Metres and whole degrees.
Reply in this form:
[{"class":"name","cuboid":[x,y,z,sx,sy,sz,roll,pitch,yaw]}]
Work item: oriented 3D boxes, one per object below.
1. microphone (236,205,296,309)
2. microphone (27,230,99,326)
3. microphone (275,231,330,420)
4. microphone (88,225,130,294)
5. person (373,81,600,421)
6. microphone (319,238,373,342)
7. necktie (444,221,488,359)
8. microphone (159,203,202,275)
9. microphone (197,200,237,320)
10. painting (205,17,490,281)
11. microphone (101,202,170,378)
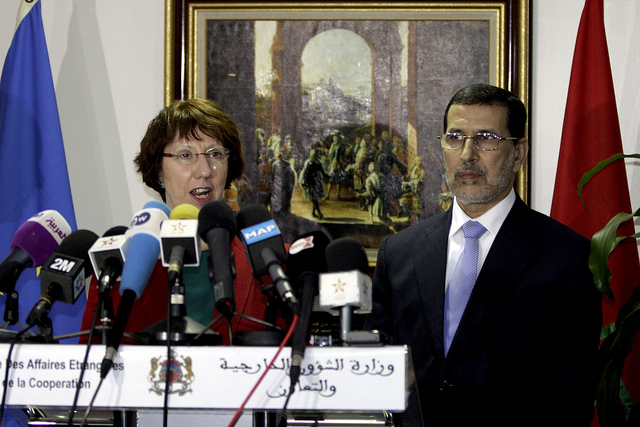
[{"class":"microphone","cuboid":[-0.184,0.139,2.307,0.132,0.144,0.479,-19,46,-13]},{"class":"microphone","cuboid":[-0.907,0.223,2.322,0.227,0.326,0.169,1,2,-21]},{"class":"microphone","cuboid":[-0.063,0.338,2.265,0.146,0.595,0.131,12,-37,-1]},{"class":"microphone","cuboid":[-0.741,0.166,2.306,0.128,0.141,0.249,-6,26,8]},{"class":"person","cuboid":[0.787,0.125,3.076,0.998,1.509,0.674,2,2,-1]},{"class":"microphone","cuboid":[0.090,0.257,2.265,0.180,0.326,0.275,2,2,1]},{"class":"necktie","cuboid":[0.704,0.361,3.147,0.170,0.622,0.027,9,-19,38]},{"class":"microphone","cuboid":[-0.489,0.086,2.293,0.096,0.104,0.257,-1,24,-3]},{"class":"microphone","cuboid":[-0.360,0.159,2.284,0.140,0.400,0.246,1,2,-10]},{"class":"painting","cuboid":[0.241,-0.378,3.854,1.600,1.763,0.069,0,0,5]},{"class":"microphone","cuboid":[-0.635,0.225,2.231,0.144,0.689,0.140,2,-42,6]}]
